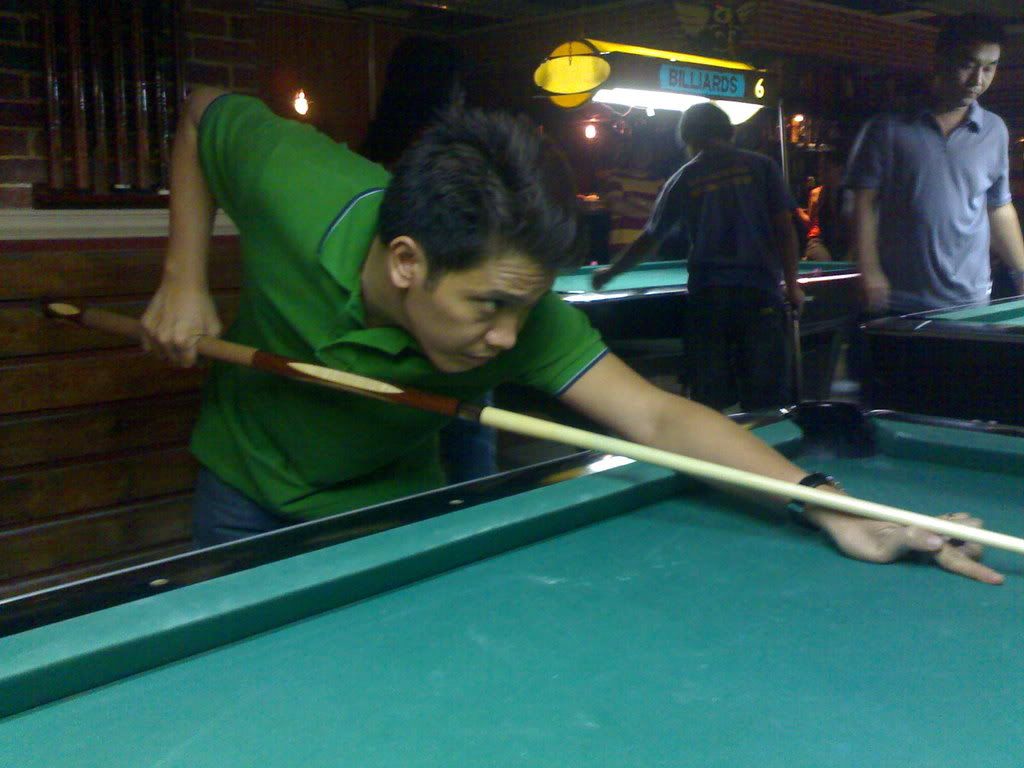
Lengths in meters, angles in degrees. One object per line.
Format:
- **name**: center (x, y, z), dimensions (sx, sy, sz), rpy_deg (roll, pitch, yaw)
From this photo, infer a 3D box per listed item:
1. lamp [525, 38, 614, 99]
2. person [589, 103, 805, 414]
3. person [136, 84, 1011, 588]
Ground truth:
- **lamp**: center (0.301, -1.598, 4.112), dimensions (0.310, 0.221, 0.415), rpy_deg (-5, 16, -31)
- **person**: center (0.904, -0.613, 3.931), dimensions (0.629, 1.483, 0.700), rpy_deg (3, 4, 44)
- **person**: center (0.021, -0.090, 1.918), dimensions (1.731, 0.990, 1.363), rpy_deg (-2, 16, -31)
